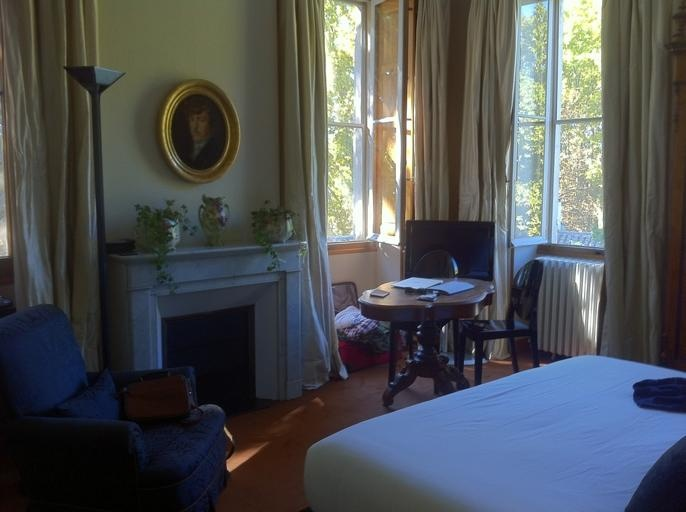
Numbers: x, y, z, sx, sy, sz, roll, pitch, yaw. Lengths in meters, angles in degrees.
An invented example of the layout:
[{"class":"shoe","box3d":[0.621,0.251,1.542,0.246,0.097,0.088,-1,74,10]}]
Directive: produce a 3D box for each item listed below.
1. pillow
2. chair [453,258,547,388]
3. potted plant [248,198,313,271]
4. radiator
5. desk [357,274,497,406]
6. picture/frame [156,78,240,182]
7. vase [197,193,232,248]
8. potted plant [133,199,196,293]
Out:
[{"class":"pillow","box3d":[-1.258,0.736,2.840,0.056,0.208,0.184,-24,-4,25]},{"class":"chair","box3d":[1.208,0.535,4.389,0.525,1.043,0.543,3,5,3]},{"class":"potted plant","box3d":[-0.496,-0.158,4.283,0.459,0.456,0.401,-9,15,-35]},{"class":"radiator","box3d":[1.902,0.407,4.711,0.302,0.797,0.762,-1,3,-37]},{"class":"desk","box3d":[0.615,0.629,4.106,0.700,0.847,1.128,7,14,40]},{"class":"picture/frame","box3d":[-1.067,-0.901,4.021,0.643,0.834,0.082,8,-6,-44]},{"class":"vase","box3d":[-0.934,-0.266,4.055,0.214,0.349,0.244,-3,13,-15]},{"class":"potted plant","box3d":[-1.180,-0.083,3.801,0.393,0.551,0.508,-5,13,-21]}]
